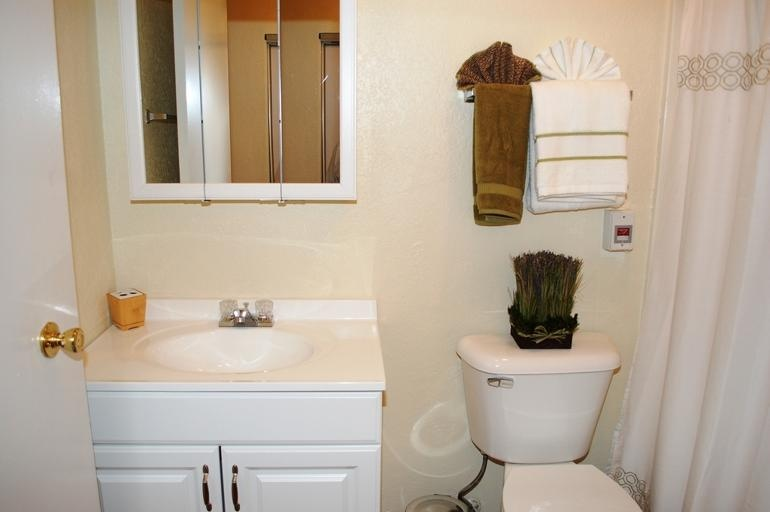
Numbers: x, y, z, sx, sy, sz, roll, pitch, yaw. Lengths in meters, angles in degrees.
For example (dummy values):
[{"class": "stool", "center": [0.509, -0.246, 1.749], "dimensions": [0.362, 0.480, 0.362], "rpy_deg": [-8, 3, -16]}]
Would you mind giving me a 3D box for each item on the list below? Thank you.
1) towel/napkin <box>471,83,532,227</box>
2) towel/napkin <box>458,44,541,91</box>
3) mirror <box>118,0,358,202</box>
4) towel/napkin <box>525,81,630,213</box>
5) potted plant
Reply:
[{"class": "towel/napkin", "center": [0.408, -0.362, 2.042], "dimensions": [0.240, 0.443, 0.106], "rpy_deg": [1, 4, 4]}, {"class": "towel/napkin", "center": [0.399, -0.675, 2.053], "dimensions": [0.288, 0.164, 0.109], "rpy_deg": [2, -31, -2]}, {"class": "mirror", "center": [-0.543, -0.605, 2.107], "dimensions": [0.710, 0.849, 0.045], "rpy_deg": [0, 12, 2]}, {"class": "towel/napkin", "center": [0.690, -0.393, 2.155], "dimensions": [0.347, 0.448, 0.126], "rpy_deg": [-1, 8, -2]}, {"class": "potted plant", "center": [0.570, 0.143, 2.250], "dimensions": [0.343, 0.440, 0.312], "rpy_deg": [2, 6, 14]}]
